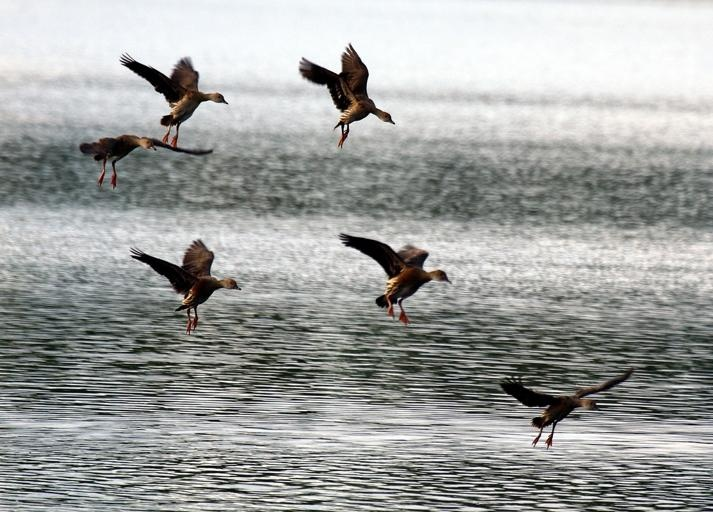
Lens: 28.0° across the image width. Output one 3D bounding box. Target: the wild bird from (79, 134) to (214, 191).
[{"bbox_3d":[-5.050,-2.140,30.536,1.478,0.538,2.037,-9,-13,7],"label":"wild bird"}]
